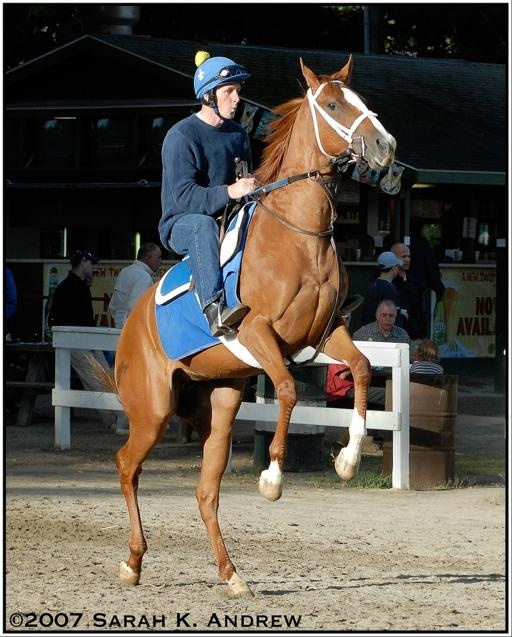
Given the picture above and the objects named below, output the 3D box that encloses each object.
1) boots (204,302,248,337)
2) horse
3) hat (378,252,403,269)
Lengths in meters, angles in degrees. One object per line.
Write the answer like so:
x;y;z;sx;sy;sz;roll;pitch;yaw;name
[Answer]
-0.154;0.003;7.199;0.131;0.184;0.307;10;-10;-35;boots
-0.159;0.304;7.801;0.720;2.605;3.390;8;-23;-32;horse
1.511;-0.656;14.427;0.153;0.137;0.238;13;33;36;hat
